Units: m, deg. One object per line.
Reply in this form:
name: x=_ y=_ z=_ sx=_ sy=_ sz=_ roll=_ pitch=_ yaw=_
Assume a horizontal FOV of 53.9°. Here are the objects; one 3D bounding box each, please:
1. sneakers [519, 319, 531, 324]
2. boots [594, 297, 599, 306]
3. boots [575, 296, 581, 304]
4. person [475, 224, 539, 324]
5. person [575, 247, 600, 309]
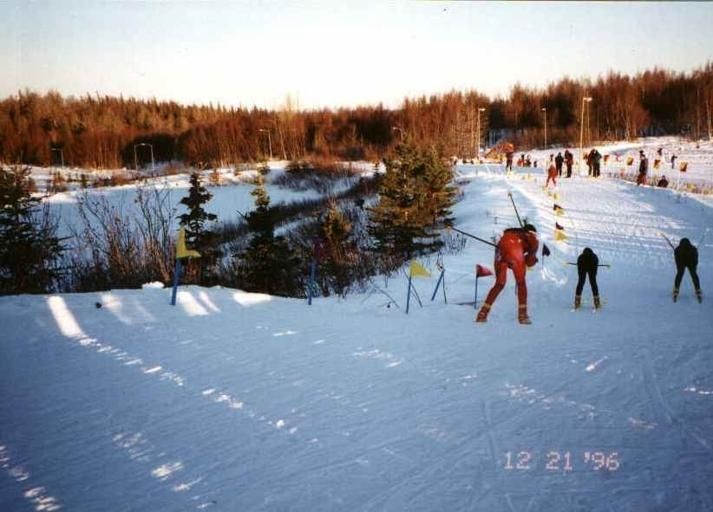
sneakers: x=3.767 y=1.474 z=15.695 sx=0.243 sy=0.127 sz=0.101 roll=-2 pitch=17 yaw=14
boots: x=5.631 y=1.074 z=16.508 sx=0.142 sy=0.249 sz=0.152 roll=-1 pitch=-2 yaw=10
boots: x=5.238 y=1.054 z=16.700 sx=0.132 sy=0.222 sz=0.152 roll=-4 pitch=4 yaw=-5
person: x=3.724 y=0.537 z=17.283 sx=1.025 sy=1.345 sz=2.684 roll=-20 pitch=35 yaw=38
person: x=5.833 y=0.369 z=17.615 sx=0.602 sy=1.537 sz=2.634 roll=3 pitch=13 yaw=18
